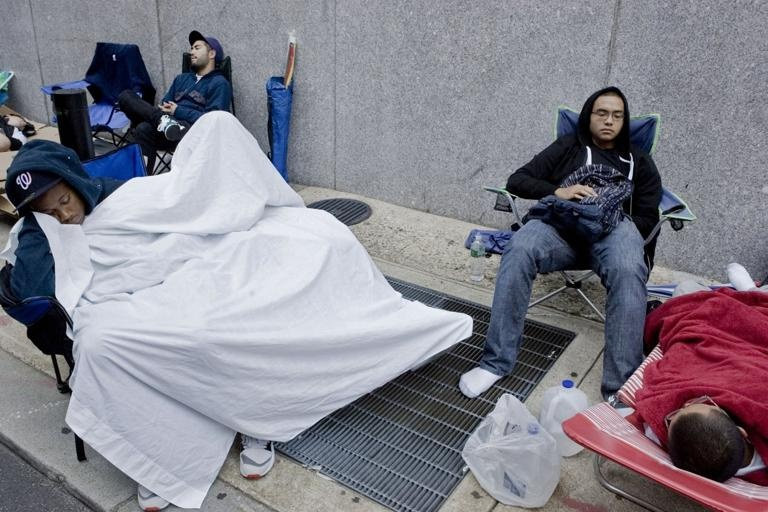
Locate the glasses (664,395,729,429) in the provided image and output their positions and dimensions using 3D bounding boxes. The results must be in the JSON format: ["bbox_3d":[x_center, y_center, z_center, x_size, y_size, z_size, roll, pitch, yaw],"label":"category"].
[{"bbox_3d":[1.349,0.667,2.662,0.247,0.205,0.078,-1,-6,-5],"label":"glasses"}]

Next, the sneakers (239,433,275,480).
[{"bbox_3d":[-0.659,1.025,3.135,0.176,0.103,0.311,4,25,-11],"label":"sneakers"}]

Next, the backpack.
[{"bbox_3d":[1.279,-0.330,3.656,0.540,0.222,0.537,-40,34,-4],"label":"backpack"}]

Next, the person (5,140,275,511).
[{"bbox_3d":[-1.315,0.299,3.116,0.971,1.614,1.402,-14,26,-33],"label":"person"}]

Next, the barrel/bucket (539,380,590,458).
[{"bbox_3d":[0.988,0.848,3.211,0.232,0.359,0.222,-7,7,1],"label":"barrel/bucket"}]

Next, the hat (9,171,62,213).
[{"bbox_3d":[-1.779,-0.335,3.081,0.135,0.096,0.222,-39,2,-10],"label":"hat"}]
